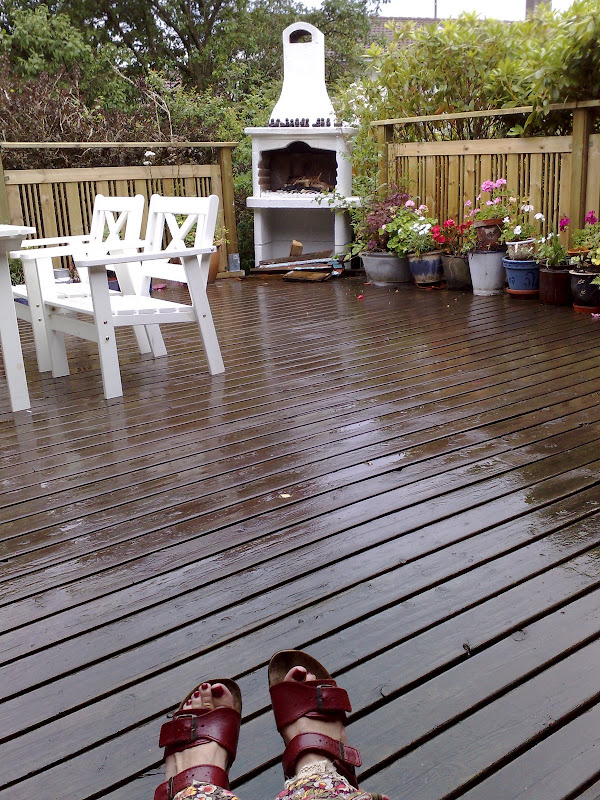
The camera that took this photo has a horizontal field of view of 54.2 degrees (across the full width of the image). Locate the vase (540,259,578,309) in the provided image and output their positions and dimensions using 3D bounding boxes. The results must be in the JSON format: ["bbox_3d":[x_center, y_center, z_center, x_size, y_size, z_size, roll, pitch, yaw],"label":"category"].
[{"bbox_3d":[2.006,-0.892,4.576,0.309,0.288,0.299,-3,14,0],"label":"vase"}]

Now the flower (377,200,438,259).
[{"bbox_3d":[1.050,-1.668,5.753,0.630,0.520,0.598,-8,32,-13],"label":"flower"}]

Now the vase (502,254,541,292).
[{"bbox_3d":[1.858,-1.068,4.947,0.285,0.221,0.283,-5,15,-8],"label":"vase"}]

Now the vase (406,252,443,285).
[{"bbox_3d":[1.211,-1.262,5.620,0.309,0.223,0.306,4,21,22],"label":"vase"}]

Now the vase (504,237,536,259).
[{"bbox_3d":[1.844,-1.253,4.849,0.197,0.113,0.192,1,20,16],"label":"vase"}]

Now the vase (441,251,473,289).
[{"bbox_3d":[1.456,-1.195,5.402,0.302,0.319,0.312,0,18,9],"label":"vase"}]

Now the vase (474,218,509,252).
[{"bbox_3d":[1.638,-1.423,5.024,0.278,0.209,0.268,-3,14,1],"label":"vase"}]

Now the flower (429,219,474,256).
[{"bbox_3d":[1.379,-1.489,5.358,0.365,0.337,0.364,0,0,23],"label":"flower"}]
